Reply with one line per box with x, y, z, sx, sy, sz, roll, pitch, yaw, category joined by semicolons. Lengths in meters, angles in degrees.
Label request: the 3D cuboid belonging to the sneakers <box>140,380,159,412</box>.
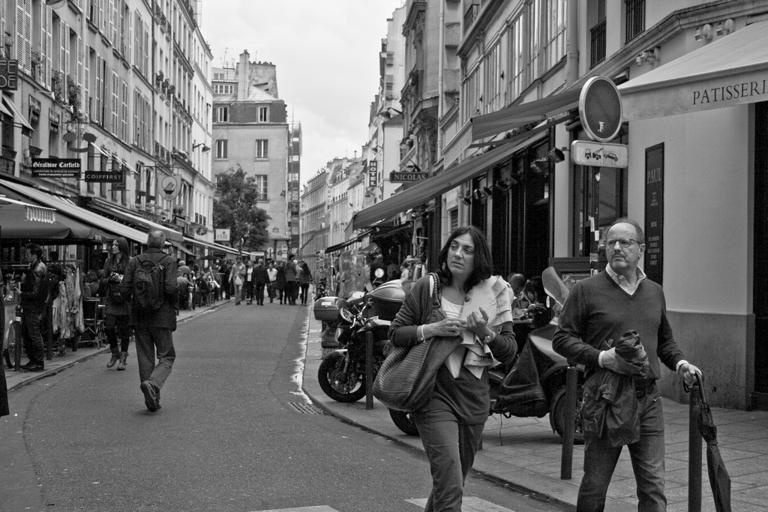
-3.363;1.987;13.488;0.198;0.491;0.210;-12;13;30;sneakers

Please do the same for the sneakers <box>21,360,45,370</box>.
-6.339;1.955;16.999;0.394;0.183;0.150;4;-1;7;sneakers

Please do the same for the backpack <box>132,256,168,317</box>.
-3.471;0.402;13.877;0.438;0.779;0.428;1;4;-20;backpack

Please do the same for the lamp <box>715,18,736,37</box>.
5.184;-3.470;14.319;0.261;0.286;0.173;0;1;-29;lamp

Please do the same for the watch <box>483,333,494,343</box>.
0.942;0.732;8.494;0.064;0.086;0.073;29;-7;47;watch
